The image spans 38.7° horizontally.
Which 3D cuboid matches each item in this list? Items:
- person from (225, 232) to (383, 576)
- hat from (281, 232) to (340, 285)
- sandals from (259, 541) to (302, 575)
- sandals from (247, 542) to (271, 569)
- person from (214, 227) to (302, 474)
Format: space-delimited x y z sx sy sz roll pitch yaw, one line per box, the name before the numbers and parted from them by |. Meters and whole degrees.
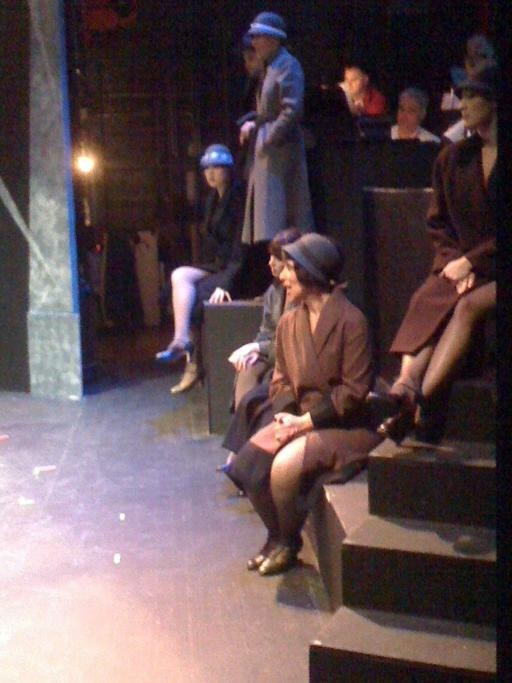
person | 0.135 0.209 2.428 0.491 1.118 0.315 6 11 45
hat | 0.178 -0.234 2.429 0.208 0.150 0.177 1 -8 22
sandals | 0.078 0.722 2.422 0.137 0.066 0.074 -13 16 -40
sandals | 0.014 0.730 2.498 0.039 0.059 0.131 6 0 20
person | 0.089 0.065 3.103 0.435 0.996 0.321 -14 29 -33
